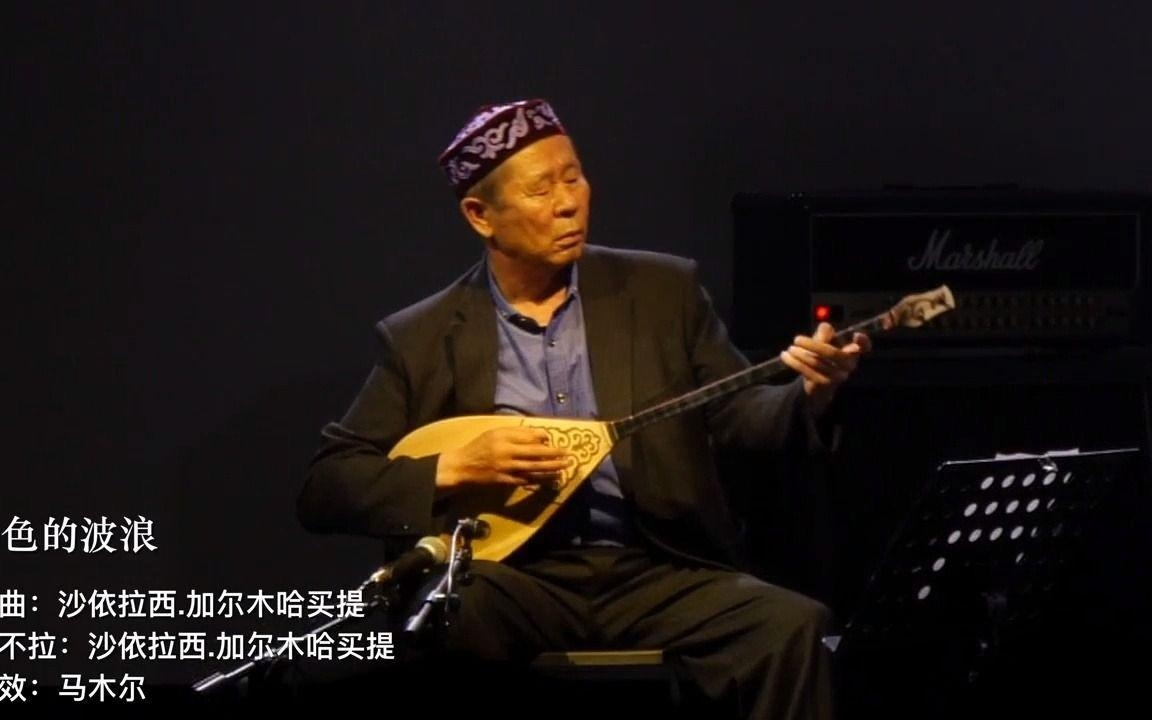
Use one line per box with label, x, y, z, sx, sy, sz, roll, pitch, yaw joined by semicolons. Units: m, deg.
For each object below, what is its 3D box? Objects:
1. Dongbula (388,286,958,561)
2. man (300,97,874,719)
Dongbula;0.286;0.240;4.453;1.290;0.105;0.507;-17;40;1
man;0.008;0.267;4.402;1.234;2.824;0.635;15;11;19
